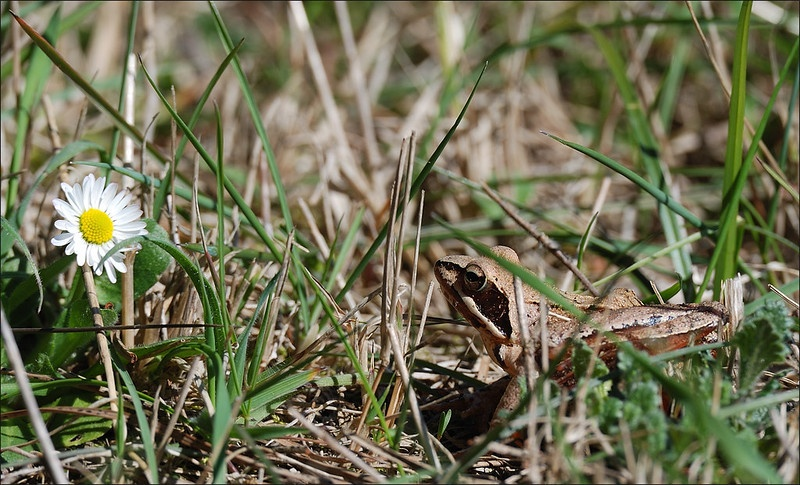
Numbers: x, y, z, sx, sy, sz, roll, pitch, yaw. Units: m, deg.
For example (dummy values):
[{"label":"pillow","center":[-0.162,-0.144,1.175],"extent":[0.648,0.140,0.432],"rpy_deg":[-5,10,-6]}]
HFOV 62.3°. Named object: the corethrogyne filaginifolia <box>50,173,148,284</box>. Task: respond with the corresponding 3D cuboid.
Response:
[{"label":"corethrogyne filaginifolia","center":[-1.232,-0.056,2.787],"extent":[0.158,0.440,0.433],"rpy_deg":[-17,50,51]}]
